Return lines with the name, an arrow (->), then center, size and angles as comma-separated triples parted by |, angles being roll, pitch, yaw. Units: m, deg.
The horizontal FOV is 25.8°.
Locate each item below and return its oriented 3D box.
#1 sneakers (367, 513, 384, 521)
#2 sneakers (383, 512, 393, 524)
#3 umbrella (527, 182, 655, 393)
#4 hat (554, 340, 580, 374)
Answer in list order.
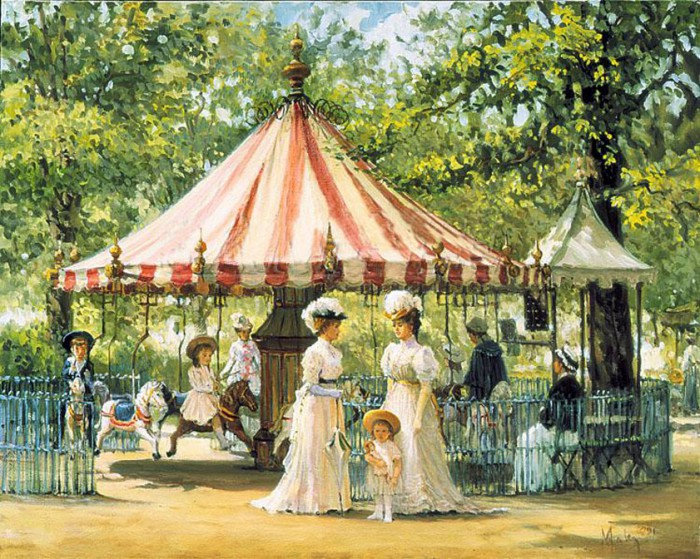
sneakers -> 0.383, 3.591, 23.040 | 0.253, 0.180, 0.088 | 0, -9, 13
sneakers -> 0.562, 3.589, 22.834 | 0.121, 0.144, 0.130 | -4, -5, 29
umbrella -> 4.344, 0.085, 27.686 | 1.964, 3.900, 2.741 | -2, -2, 15
hat -> 3.542, 1.331, 25.092 | 0.363, 0.477, 0.713 | -2, -2, 8
